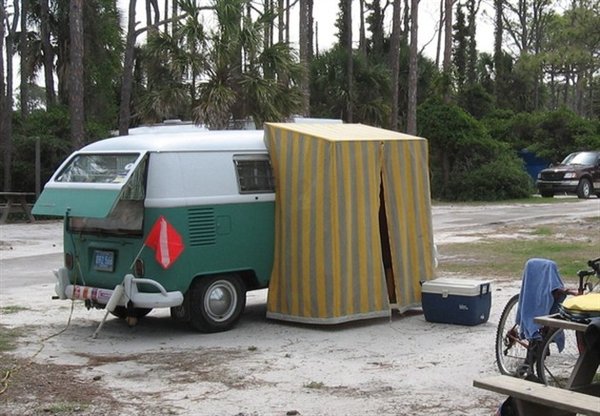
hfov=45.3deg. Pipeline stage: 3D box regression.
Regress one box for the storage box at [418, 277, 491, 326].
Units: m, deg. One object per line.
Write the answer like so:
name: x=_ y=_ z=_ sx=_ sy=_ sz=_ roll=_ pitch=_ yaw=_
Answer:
storage box: x=2.334 y=1.434 z=10.774 sx=0.924 sy=0.596 sz=0.620 roll=0 pitch=1 yaw=40
